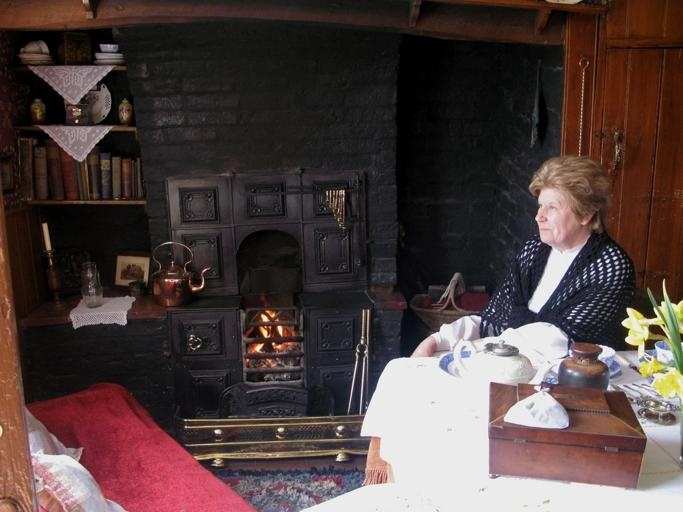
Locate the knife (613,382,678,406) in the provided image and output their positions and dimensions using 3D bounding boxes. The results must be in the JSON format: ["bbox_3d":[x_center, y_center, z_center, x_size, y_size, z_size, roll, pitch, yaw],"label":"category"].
[{"bbox_3d":[1.059,0.482,2.165,0.095,0.009,0.195,-8,5,-9],"label":"knife"}]

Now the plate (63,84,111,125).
[{"bbox_3d":[-1.699,-1.020,4.075,0.329,0.285,0.187,2,5,3],"label":"plate"}]

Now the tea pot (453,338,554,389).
[{"bbox_3d":[0.546,0.372,2.158,0.230,0.090,0.187,4,4,19],"label":"tea pot"}]

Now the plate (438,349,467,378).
[{"bbox_3d":[0.400,0.406,2.312,0.095,0.016,0.088,-15,35,-12],"label":"plate"}]

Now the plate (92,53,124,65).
[{"bbox_3d":[-1.496,-1.272,3.943,0.187,0.090,0.087,-5,4,-12],"label":"plate"}]

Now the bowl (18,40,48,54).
[{"bbox_3d":[-1.949,-1.326,3.881,0.133,0.054,0.091,-1,18,1],"label":"bowl"}]

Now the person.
[{"bbox_3d":[0.921,0.127,2.886,0.808,1.055,0.848,-8,11,-30],"label":"person"}]

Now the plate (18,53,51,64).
[{"bbox_3d":[-1.941,-1.252,3.883,0.195,0.082,0.052,-4,4,-7],"label":"plate"}]

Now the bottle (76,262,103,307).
[{"bbox_3d":[-1.624,0.185,3.986,0.124,0.289,0.205,-6,5,-22],"label":"bottle"}]

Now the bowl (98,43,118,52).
[{"bbox_3d":[-1.510,-1.348,3.963,0.099,0.042,0.092,2,15,-1],"label":"bowl"}]

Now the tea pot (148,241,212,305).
[{"bbox_3d":[-1.056,0.109,4.003,0.398,0.425,0.243,-4,4,-3],"label":"tea pot"}]

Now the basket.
[{"bbox_3d":[0.757,0.332,4.387,0.496,0.307,0.457,0,6,11],"label":"basket"}]
